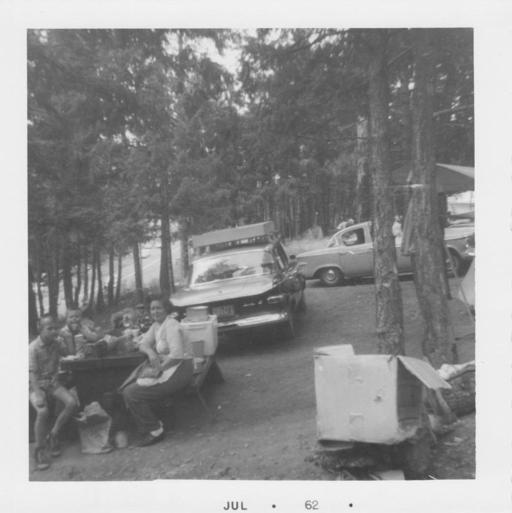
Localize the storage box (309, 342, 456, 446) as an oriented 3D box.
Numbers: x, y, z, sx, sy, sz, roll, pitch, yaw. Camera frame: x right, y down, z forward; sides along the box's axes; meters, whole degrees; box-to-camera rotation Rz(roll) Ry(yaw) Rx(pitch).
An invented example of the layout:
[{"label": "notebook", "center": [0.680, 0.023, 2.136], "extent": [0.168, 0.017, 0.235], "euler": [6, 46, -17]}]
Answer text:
[{"label": "storage box", "center": [1.036, 1.063, 5.447], "extent": [0.782, 0.696, 0.866], "euler": [-2, -5, 17]}]

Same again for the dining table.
[{"label": "dining table", "center": [-1.390, 1.063, 5.575], "extent": [0.761, 0.703, 0.561], "euler": [-8, 47, 0]}]

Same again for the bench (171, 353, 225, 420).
[{"label": "bench", "center": [-0.472, 1.123, 5.404], "extent": [0.354, 0.740, 0.446], "euler": [-6, -7, 11]}]

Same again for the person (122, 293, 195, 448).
[{"label": "person", "center": [-0.912, 1.045, 5.578], "extent": [0.564, 1.410, 0.512], "euler": [3, -17, -24]}]

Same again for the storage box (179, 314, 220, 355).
[{"label": "storage box", "center": [-0.499, 0.684, 5.460], "extent": [0.264, 0.346, 0.212], "euler": [-1, 22, 9]}]
